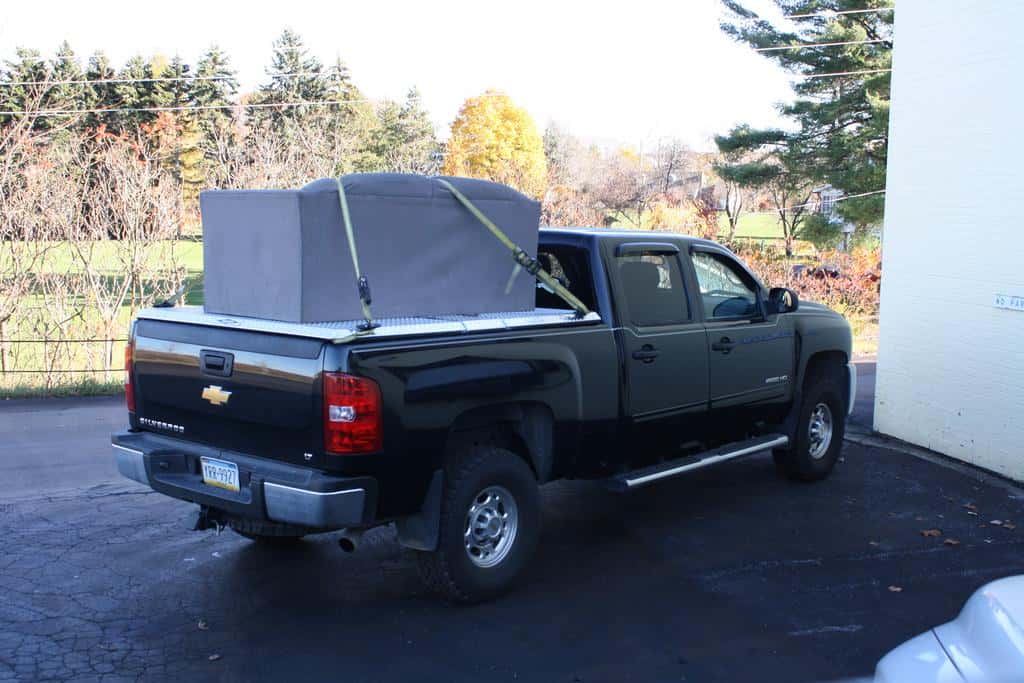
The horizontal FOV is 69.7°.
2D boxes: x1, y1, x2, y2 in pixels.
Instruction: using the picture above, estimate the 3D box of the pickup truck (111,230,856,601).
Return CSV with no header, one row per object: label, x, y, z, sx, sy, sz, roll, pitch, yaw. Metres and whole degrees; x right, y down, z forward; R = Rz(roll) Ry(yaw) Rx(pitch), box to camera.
pickup truck,0.643,0.263,7.631,7.297,2.397,2.819,-8,8,-41
